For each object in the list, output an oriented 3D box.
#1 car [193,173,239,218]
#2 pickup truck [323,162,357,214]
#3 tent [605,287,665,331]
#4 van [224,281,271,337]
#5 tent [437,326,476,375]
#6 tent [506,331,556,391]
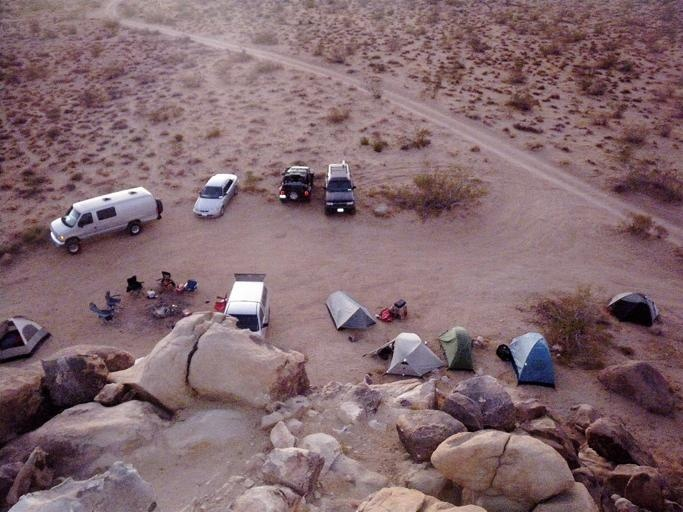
[{"bbox_3d":[-8.586,-4.195,45.145,1.934,1.253,3.817,12,46,10],"label":"car"},{"bbox_3d":[-0.096,-4.674,45.172,1.769,1.788,3.647,-1,47,1],"label":"pickup truck"},{"bbox_3d":[16.732,3.018,37.875,2.434,1.038,1.456,12,46,10],"label":"tent"},{"bbox_3d":[-5.399,2.866,37.312,2.673,2.177,4.528,2,56,1],"label":"van"},{"bbox_3d":[6.387,5.215,36.347,1.766,2.095,2.146,3,16,-8],"label":"tent"},{"bbox_3d":[10.376,5.705,36.062,1.996,1.312,2.863,-1,42,2],"label":"tent"}]
